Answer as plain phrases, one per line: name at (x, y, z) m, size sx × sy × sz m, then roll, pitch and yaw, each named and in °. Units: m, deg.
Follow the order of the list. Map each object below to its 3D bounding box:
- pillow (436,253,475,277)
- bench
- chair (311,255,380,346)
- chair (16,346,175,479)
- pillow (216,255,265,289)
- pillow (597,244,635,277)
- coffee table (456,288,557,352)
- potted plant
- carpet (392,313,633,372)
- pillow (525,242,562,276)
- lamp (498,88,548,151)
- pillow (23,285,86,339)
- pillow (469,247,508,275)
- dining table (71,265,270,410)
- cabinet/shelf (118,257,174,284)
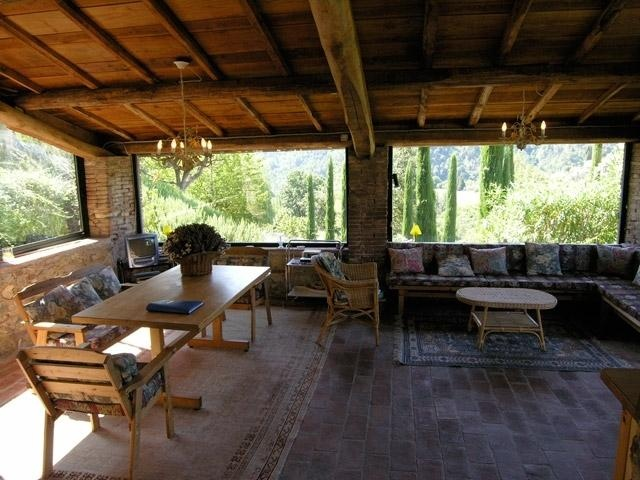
pillow at (2.018, 0.400, 6.960) m, size 0.473 × 0.329 × 0.115 m, roll 1°, pitch -42°, yaw 10°
bench at (-2.577, 0.793, 5.390) m, size 0.915 × 0.665 × 1.511 m, roll 13°, pitch 14°, yaw 3°
chair at (0.355, 0.786, 6.016) m, size 0.815 × 1.114 × 0.945 m, roll -1°, pitch 6°, yaw 6°
chair at (-1.767, 1.388, 3.793) m, size 1.130 × 1.186 × 0.684 m, roll -4°, pitch 7°, yaw -16°
pillow at (-1.210, 0.524, 7.482) m, size 0.763 × 0.773 × 0.613 m, roll -1°, pitch -4°, yaw 8°
pillow at (4.295, 0.328, 6.724) m, size 0.522 × 0.414 × 0.195 m, roll 4°, pitch -9°, yaw 27°
coffee table at (2.348, 0.970, 5.887) m, size 1.288 × 0.434 × 0.799 m, roll 1°, pitch 8°, yaw 0°
potted plant at (-1.414, 0.112, 5.363) m, size 0.789 × 0.540 × 0.676 m, roll 0°, pitch -1°, yaw -12°
carpet at (2.333, 1.341, 6.239) m, size 3.138 × 0.067 × 2.874 m, roll -1°, pitch 5°, yaw -4°
pillow at (3.312, 0.305, 6.885) m, size 0.621 × 0.471 × 0.213 m, roll 1°, pitch -16°, yaw 5°
lamp at (2.458, -1.482, 5.640) m, size 0.576 × 0.711 × 0.570 m, roll 10°, pitch 22°, yaw 40°
pillow at (-2.775, 0.773, 4.817) m, size 0.325 × 0.405 × 0.645 m, roll -1°, pitch 7°, yaw 6°
pillow at (2.542, 0.341, 6.987) m, size 0.525 × 0.348 × 0.168 m, roll -3°, pitch -15°, yaw 12°
dining table at (-1.379, 0.909, 4.950) m, size 1.194 × 0.747 × 1.981 m, roll 10°, pitch 3°, yaw 18°
cabinet/shelf at (-2.574, 0.454, 6.771) m, size 0.552 × 0.290 × 0.265 m, roll -3°, pitch 9°, yaw -29°
